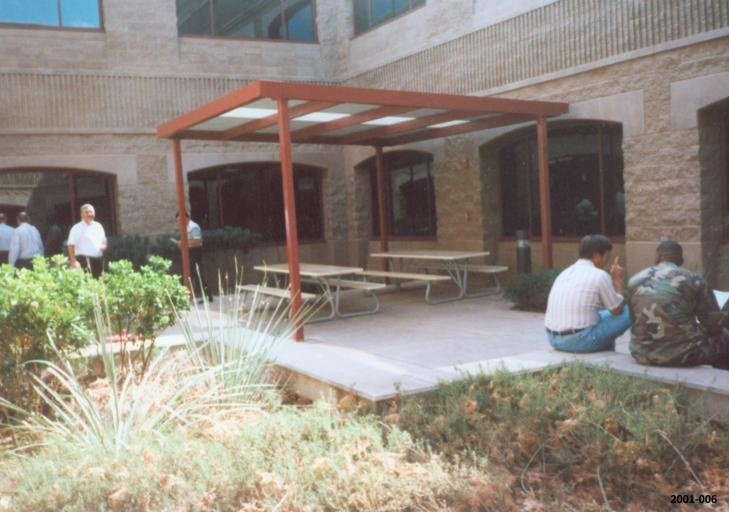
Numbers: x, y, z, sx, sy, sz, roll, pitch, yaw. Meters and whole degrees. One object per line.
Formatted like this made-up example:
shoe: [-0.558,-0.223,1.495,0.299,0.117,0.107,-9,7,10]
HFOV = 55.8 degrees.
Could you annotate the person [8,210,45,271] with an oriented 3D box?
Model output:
person: [-6.461,-0.284,13.117,0.588,1.046,0.478,-2,4,-33]

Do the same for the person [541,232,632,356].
person: [2.354,0.409,7.286,0.834,1.244,0.371,1,3,19]
